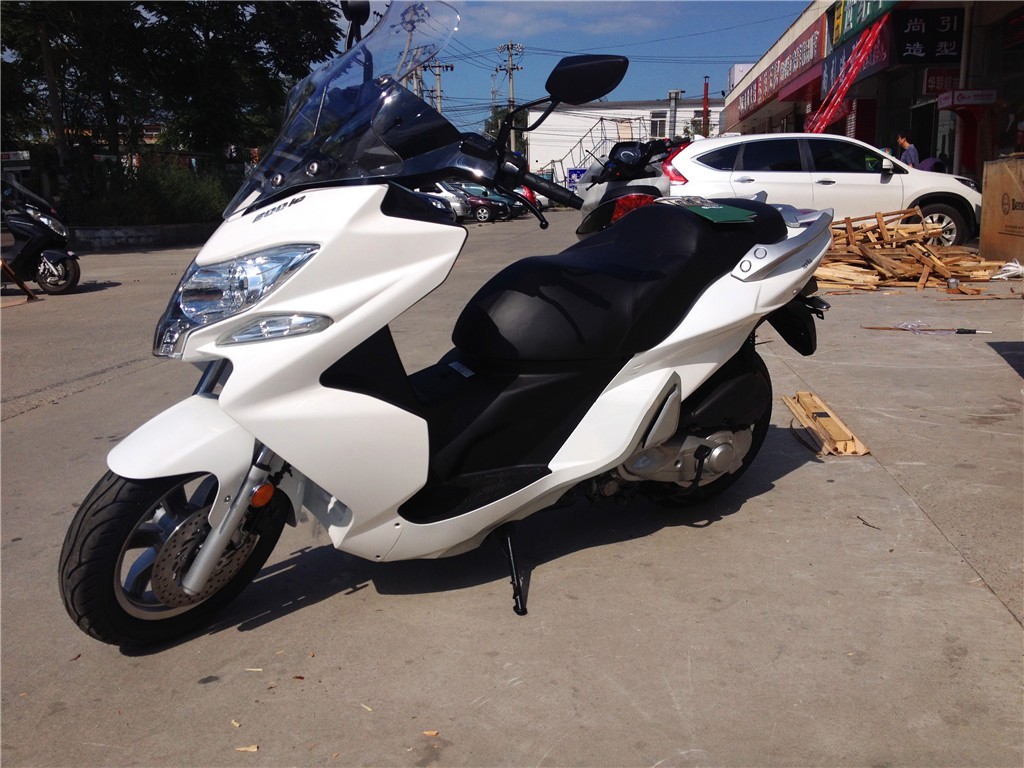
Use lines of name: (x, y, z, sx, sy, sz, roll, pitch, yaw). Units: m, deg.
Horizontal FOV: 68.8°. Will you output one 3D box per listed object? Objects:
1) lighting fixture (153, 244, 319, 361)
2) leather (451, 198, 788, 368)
lighting fixture: (-0.921, -0.271, 2.452, 0.558, 0.354, 0.217, 1, 25, 6)
leather: (0.500, -0.356, 3.151, 1.287, 0.579, 0.563, -21, 44, -4)
